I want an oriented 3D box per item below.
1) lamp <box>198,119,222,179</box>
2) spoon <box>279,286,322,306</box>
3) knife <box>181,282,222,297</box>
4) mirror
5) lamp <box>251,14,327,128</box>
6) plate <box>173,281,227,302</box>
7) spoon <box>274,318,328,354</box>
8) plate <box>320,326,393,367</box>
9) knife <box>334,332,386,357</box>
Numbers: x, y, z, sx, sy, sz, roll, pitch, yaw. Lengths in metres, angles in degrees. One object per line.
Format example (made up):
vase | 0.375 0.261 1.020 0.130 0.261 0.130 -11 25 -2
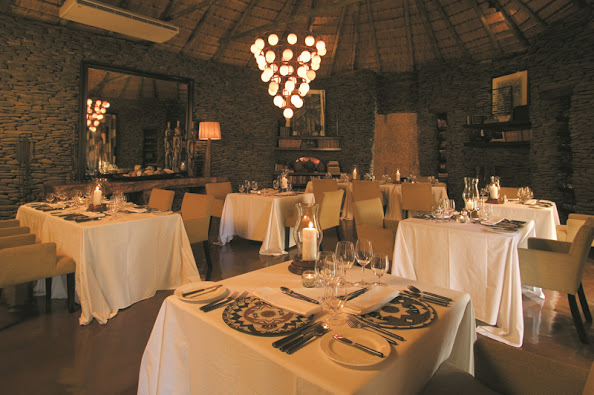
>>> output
lamp | -2.114 -1.190 9.369 0.553 1.363 0.509 -1 5 -11
spoon | -0.017 0.698 2.853 0.446 0.062 0.095 12 17 39
knife | -0.707 0.697 2.873 0.292 0.023 0.086 -7 26 -25
mirror | -3.549 -1.610 8.401 0.801 2.183 2.534 15 17 37
lamp | -0.141 -1.974 6.757 1.451 1.290 1.350 0 -2 -14
plate | -0.716 0.709 2.892 0.355 0.034 0.353 3 3 40
spoon | 0.045 0.919 2.537 0.447 0.057 0.130 -15 31 -42
plate | 0.382 0.964 2.480 0.451 0.174 0.239 0 3 12
knife | 0.402 0.955 2.475 0.261 0.029 0.034 15 46 14
